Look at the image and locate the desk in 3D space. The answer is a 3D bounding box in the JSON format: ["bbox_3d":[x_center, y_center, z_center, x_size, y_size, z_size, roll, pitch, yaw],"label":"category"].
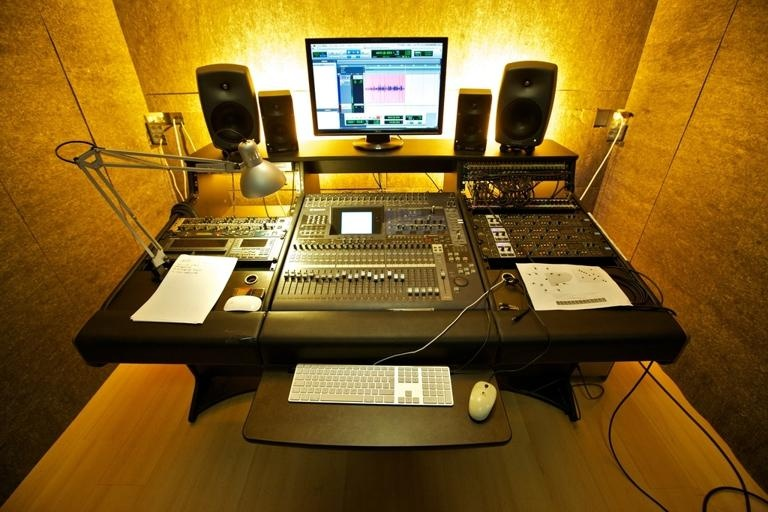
[{"bbox_3d":[-0.096,0.174,2.846,2.788,0.886,1.497,1,56,-9],"label":"desk"}]

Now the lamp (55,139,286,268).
[{"bbox_3d":[-1.327,-0.310,2.934,1.374,0.885,0.348,-2,57,-16],"label":"lamp"}]

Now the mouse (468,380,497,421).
[{"bbox_3d":[0.454,0.675,2.291,0.113,0.056,0.172,14,55,21],"label":"mouse"}]

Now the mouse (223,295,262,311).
[{"bbox_3d":[-0.715,0.238,2.481,0.188,0.054,0.087,1,30,1],"label":"mouse"}]

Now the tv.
[{"bbox_3d":[-0.047,-1.033,3.066,0.991,0.638,0.255,-1,43,0],"label":"tv"}]

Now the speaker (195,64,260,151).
[{"bbox_3d":[-0.945,-0.885,2.998,0.320,0.540,0.159,-6,34,-8],"label":"speaker"}]
